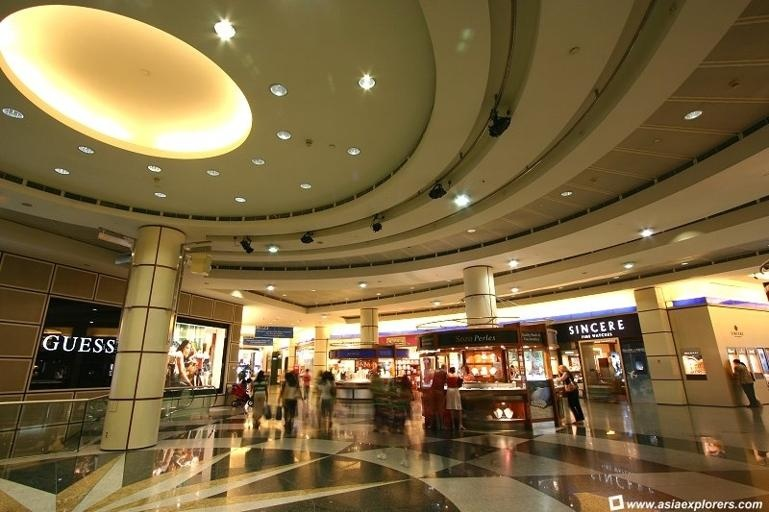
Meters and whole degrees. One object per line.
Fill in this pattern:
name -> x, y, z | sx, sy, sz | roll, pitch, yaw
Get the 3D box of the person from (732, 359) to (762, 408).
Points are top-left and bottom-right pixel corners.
person -> 14.982, 5.239, 16.180 | 0.604, 1.772, 0.830 | -12, -16, 40

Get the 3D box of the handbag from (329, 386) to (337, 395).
handbag -> -1.673, 4.487, 13.097 | 0.092, 0.282, 0.282 | -6, -13, 21

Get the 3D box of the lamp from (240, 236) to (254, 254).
lamp -> -4.546, -0.314, 12.878 | 0.554, 0.412, 0.179 | -18, -12, 28
